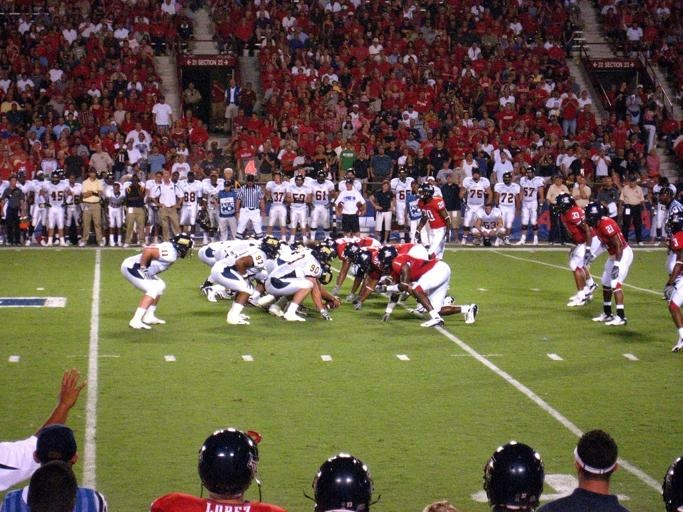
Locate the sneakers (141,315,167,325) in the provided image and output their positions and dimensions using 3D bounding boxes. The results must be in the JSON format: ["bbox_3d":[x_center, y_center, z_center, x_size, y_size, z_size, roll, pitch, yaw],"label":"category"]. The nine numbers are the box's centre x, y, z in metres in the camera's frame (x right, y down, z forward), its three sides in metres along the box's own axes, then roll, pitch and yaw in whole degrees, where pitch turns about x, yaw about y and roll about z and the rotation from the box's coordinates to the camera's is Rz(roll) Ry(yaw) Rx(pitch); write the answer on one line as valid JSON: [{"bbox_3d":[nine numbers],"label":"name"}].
[{"bbox_3d":[-2.738,0.970,15.459,0.345,0.120,0.237,-3,-25,-8],"label":"sneakers"}]

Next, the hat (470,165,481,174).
[{"bbox_3d":[3.259,-2.062,25.443,0.140,0.163,0.195,-4,0,3],"label":"hat"}]

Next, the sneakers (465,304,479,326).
[{"bbox_3d":[1.939,0.877,15.630,0.163,0.371,0.133,-3,16,-13],"label":"sneakers"}]

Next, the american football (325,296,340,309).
[{"bbox_3d":[-0.138,0.727,16.485,0.199,0.199,0.151,43,10,-21],"label":"american football"}]

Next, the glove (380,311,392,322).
[{"bbox_3d":[0.691,0.932,16.059,0.103,0.119,0.385,-8,-6,9],"label":"glove"}]

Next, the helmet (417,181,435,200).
[{"bbox_3d":[1.519,-1.179,18.692,0.310,0.280,0.247,-3,30,9],"label":"helmet"}]

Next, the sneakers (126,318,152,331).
[{"bbox_3d":[-2.894,0.990,15.080,0.342,0.157,0.127,14,21,-16],"label":"sneakers"}]

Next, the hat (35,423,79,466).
[{"bbox_3d":[-2.157,1.435,7.984,0.222,0.179,0.321,3,25,-12],"label":"hat"}]

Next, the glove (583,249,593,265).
[{"bbox_3d":[4.066,0.022,17.226,0.149,0.336,0.267,5,12,20],"label":"glove"}]

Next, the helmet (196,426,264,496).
[{"bbox_3d":[-0.814,1.511,7.768,0.357,0.512,0.417,9,-35,0],"label":"helmet"}]

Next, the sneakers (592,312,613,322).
[{"bbox_3d":[3.969,0.948,16.002,0.316,0.110,0.140,-4,-43,34],"label":"sneakers"}]

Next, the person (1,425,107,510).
[{"bbox_3d":[-2.146,1.613,7.924,0.504,0.350,0.802,8,10,-16],"label":"person"}]

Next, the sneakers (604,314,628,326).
[{"bbox_3d":[4.096,0.957,15.711,0.357,0.171,0.133,2,10,12],"label":"sneakers"}]

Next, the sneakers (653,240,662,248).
[{"bbox_3d":[7.771,-0.300,25.869,0.308,0.118,0.113,10,11,-8],"label":"sneakers"}]

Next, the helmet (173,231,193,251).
[{"bbox_3d":[-2.312,-0.193,15.445,0.273,0.246,0.224,-4,32,-19],"label":"helmet"}]

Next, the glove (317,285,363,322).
[{"bbox_3d":[-0.147,0.710,16.547,0.621,0.426,0.419,-17,46,-38],"label":"glove"}]

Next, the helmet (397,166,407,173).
[{"bbox_3d":[1.471,-2.070,25.236,0.143,0.188,0.170,-2,2,4],"label":"helmet"}]

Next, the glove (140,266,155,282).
[{"bbox_3d":[-2.824,0.258,15.342,0.143,0.202,0.079,6,10,-5],"label":"glove"}]

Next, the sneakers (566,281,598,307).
[{"bbox_3d":[4.037,0.652,17.565,0.186,0.401,0.141,41,22,-37],"label":"sneakers"}]

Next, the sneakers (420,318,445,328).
[{"bbox_3d":[1.330,0.990,15.444,0.365,0.161,0.135,-4,10,20],"label":"sneakers"}]

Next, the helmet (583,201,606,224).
[{"bbox_3d":[3.812,-0.632,15.778,0.344,0.350,0.274,10,19,22],"label":"helmet"}]

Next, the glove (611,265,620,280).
[{"bbox_3d":[4.029,0.246,15.455,0.123,0.165,0.169,1,3,6],"label":"glove"}]

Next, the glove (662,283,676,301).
[{"bbox_3d":[4.397,0.479,14.118,0.169,0.223,0.226,-3,7,5],"label":"glove"}]
